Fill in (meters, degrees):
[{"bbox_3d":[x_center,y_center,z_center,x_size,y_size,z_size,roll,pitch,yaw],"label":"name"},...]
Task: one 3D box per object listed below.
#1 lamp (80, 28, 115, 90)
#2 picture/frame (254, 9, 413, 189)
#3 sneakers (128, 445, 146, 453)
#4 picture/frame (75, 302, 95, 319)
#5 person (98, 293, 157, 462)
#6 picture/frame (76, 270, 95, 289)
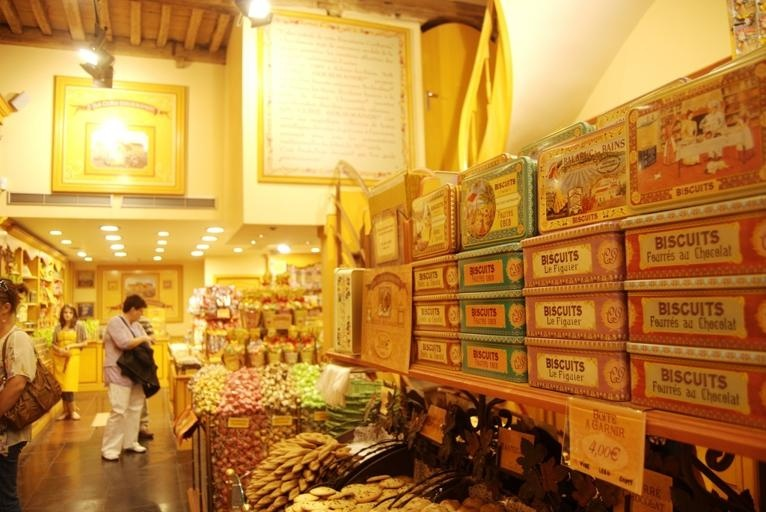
[{"bbox_3d":[-3.046,-2.135,5.831,0.305,0.644,1.062,1,-3,-29],"label":"lamp"},{"bbox_3d":[-0.519,-1.411,5.061,2.079,2.108,0.152,0,-3,-13],"label":"picture/frame"},{"bbox_3d":[-2.960,2.334,6.631,0.260,0.112,0.096,0,-8,6],"label":"sneakers"},{"bbox_3d":[-6.478,1.177,11.863,0.429,0.470,0.033,2,-5,-22],"label":"picture/frame"},{"bbox_3d":[-2.995,1.410,6.458,0.524,1.883,0.532,-2,-3,44],"label":"person"},{"bbox_3d":[-6.572,0.508,12.056,0.380,0.435,0.045,3,8,-22],"label":"picture/frame"}]
